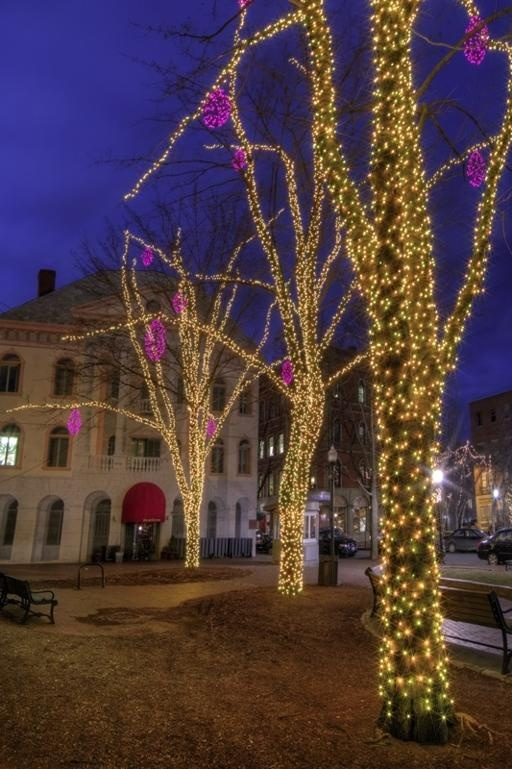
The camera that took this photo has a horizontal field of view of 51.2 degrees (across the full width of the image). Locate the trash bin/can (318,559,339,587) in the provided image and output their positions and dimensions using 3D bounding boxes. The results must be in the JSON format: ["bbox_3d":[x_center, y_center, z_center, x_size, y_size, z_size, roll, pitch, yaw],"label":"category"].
[{"bbox_3d":[2.173,5.801,16.394,0.564,0.795,1.003,1,-16,4],"label":"trash bin/can"}]
